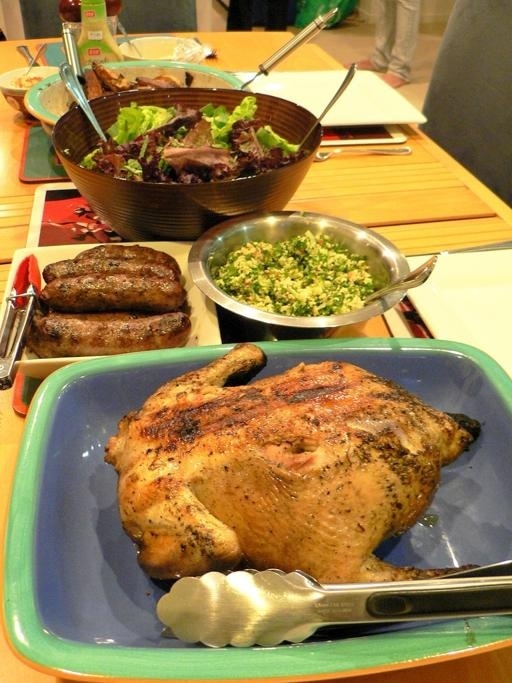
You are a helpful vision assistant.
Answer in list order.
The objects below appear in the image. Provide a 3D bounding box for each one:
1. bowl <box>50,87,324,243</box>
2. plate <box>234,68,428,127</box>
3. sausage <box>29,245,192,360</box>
[{"bbox_3d":[-0.127,-0.378,1.215,0.531,0.205,0.495,-2,41,2],"label":"bowl"},{"bbox_3d":[0.259,-0.775,1.789,0.438,0.022,0.436,-4,37,-9],"label":"plate"},{"bbox_3d":[-0.229,-0.057,0.903,0.216,0.056,0.191,-6,45,-14],"label":"sausage"}]
